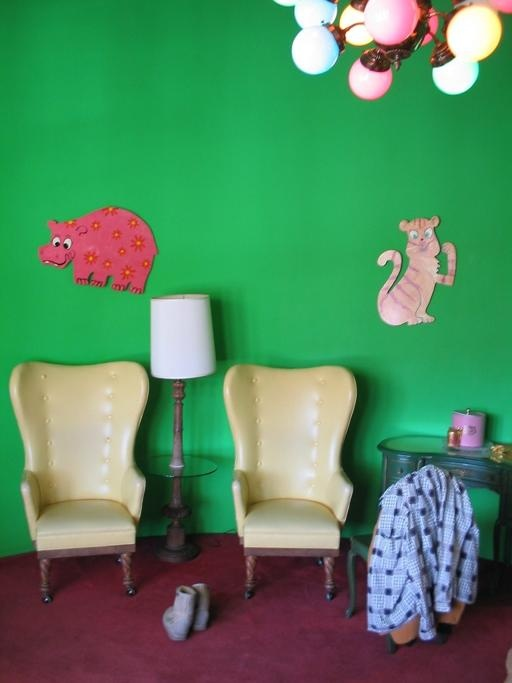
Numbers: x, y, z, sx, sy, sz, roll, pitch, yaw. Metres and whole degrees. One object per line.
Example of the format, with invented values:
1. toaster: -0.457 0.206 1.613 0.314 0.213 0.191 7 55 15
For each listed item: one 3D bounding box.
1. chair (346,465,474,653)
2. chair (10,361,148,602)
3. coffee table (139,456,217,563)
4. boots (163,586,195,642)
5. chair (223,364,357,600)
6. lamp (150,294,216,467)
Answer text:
1. chair: 0.577 0.756 2.259 0.374 0.631 0.211 3 9 9
2. chair: -0.843 0.646 3.165 0.699 0.974 0.614 2 11 -22
3. coffee table: -0.407 0.854 3.512 0.522 0.521 0.491 0 11 -6
4. boots: -0.306 1.104 2.663 0.142 0.187 0.130 8 3 -38
5. chair: 0.137 0.650 3.198 0.646 1.007 0.670 2 8 8
6. lamp: -0.351 0.000 3.251 0.285 0.437 0.190 -4 10 -33
